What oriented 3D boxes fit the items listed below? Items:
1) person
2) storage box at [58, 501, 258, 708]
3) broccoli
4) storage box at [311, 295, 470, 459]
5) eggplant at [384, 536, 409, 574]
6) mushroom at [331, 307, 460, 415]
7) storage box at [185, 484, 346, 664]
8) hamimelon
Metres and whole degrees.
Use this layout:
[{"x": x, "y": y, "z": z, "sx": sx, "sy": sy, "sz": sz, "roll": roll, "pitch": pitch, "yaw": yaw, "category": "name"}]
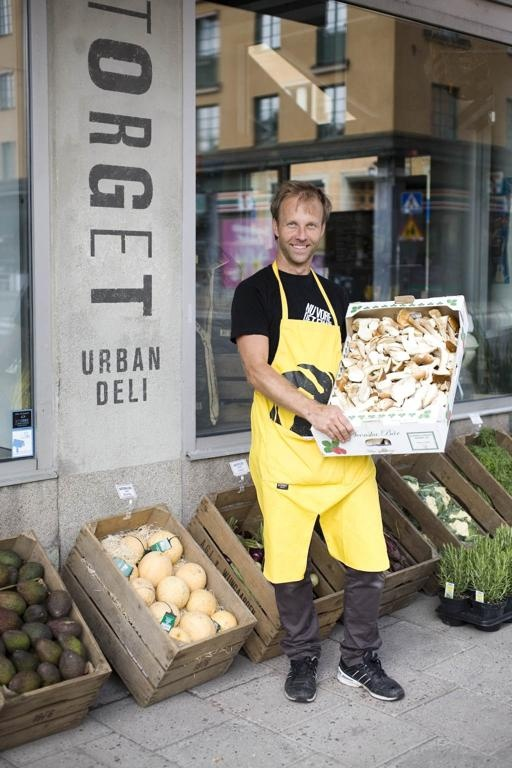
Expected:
[{"x": 0.244, "y": 0.222, "z": 2.388, "sx": 0.582, "sy": 1.950, "sz": 0.686, "roll": 0, "pitch": 2, "yaw": -25, "category": "person"}, {"x": -0.362, "y": 0.800, "z": 2.656, "sx": 0.701, "sy": 0.672, "sz": 0.762, "roll": 3, "pitch": 3, "yaw": 33, "category": "storage box"}, {"x": 1.149, "y": 0.755, "z": 3.785, "sx": 0.389, "sy": 0.111, "sz": 0.402, "roll": 37, "pitch": 9, "yaw": -17, "category": "broccoli"}, {"x": 0.460, "y": -0.014, "z": 2.238, "sx": 0.571, "sy": 0.590, "sz": 0.510, "roll": 3, "pitch": 8, "yaw": 9, "category": "storage box"}, {"x": 0.731, "y": 0.887, "z": 3.278, "sx": 0.144, "sy": 0.069, "sz": 0.186, "roll": -4, "pitch": 26, "yaw": -17, "category": "eggplant"}, {"x": 0.485, "y": -0.082, "z": 2.142, "sx": 0.436, "sy": 0.543, "sz": 0.282, "roll": 3, "pitch": 7, "yaw": 15, "category": "mushroom"}, {"x": 0.012, "y": 1.020, "z": 3.113, "sx": 0.627, "sy": 0.504, "sz": 0.878, "roll": 4, "pitch": 29, "yaw": -42, "category": "storage box"}, {"x": -0.361, "y": 0.829, "z": 2.604, "sx": 0.301, "sy": 0.174, "sz": 0.561, "roll": 12, "pitch": 21, "yaw": -46, "category": "hamimelon"}]
